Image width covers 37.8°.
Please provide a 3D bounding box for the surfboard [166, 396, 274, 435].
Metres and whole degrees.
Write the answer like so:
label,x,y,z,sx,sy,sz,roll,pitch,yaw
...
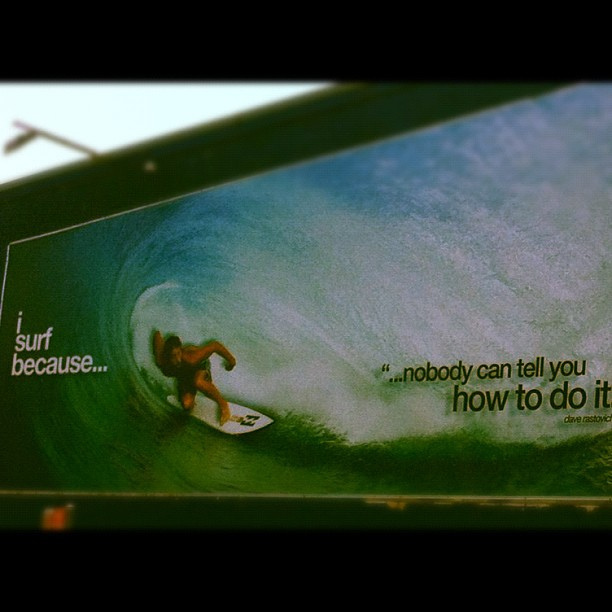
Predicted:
label,x,y,z,sx,sy,sz,roll,pitch,yaw
surfboard,-0.289,0.400,3.106,0.064,0.095,0.463,28,7,26
